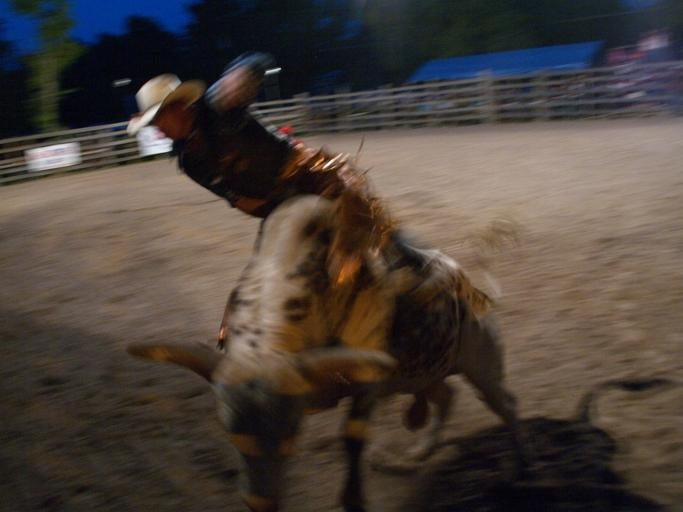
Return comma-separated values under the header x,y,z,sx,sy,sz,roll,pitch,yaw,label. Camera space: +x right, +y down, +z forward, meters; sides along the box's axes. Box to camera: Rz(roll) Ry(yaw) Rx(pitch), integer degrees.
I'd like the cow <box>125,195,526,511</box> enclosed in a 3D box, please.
x,y,z,sx,sy,sz,roll,pitch,yaw,label
0.030,0.336,1.715,0.934,1.030,0.358,-20,25,-36,cow

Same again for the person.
x,y,z,sx,sy,sz,roll,pitch,yaw,label
-0.165,-0.224,1.643,0.847,0.421,0.367,24,33,15,person
